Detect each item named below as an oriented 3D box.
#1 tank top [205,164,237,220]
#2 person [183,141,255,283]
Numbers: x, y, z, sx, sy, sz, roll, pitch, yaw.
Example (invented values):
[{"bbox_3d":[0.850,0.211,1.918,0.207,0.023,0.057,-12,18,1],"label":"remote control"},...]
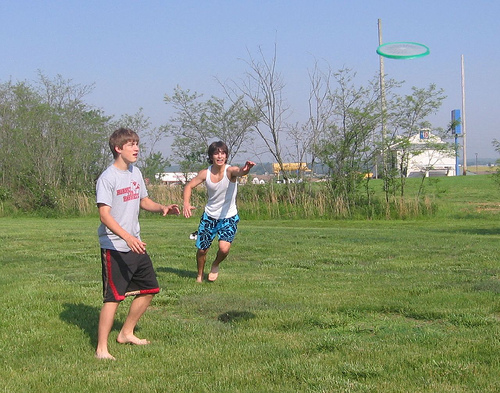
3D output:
[{"bbox_3d":[-0.505,-0.144,11.567,0.475,0.740,0.414,13,24,2],"label":"tank top"},{"bbox_3d":[-0.520,0.264,11.533,1.068,2.261,1.159,-2,2,-6],"label":"person"}]
